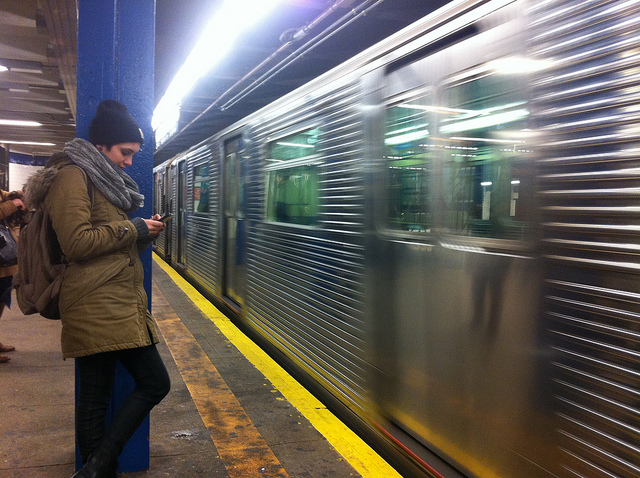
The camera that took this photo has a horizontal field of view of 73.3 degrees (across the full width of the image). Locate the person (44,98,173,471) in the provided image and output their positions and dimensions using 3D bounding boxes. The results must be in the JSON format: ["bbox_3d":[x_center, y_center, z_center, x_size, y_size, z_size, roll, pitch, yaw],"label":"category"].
[{"bbox_3d":[-1.136,0.228,2.319,0.659,1.967,0.381,4,3,-31],"label":"person"}]

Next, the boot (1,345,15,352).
[{"bbox_3d":[-3.527,1.200,4.822,0.073,0.080,0.150,5,2,-4],"label":"boot"}]

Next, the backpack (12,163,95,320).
[{"bbox_3d":[-1.495,0.109,2.292,0.356,0.621,0.102,6,2,20],"label":"backpack"}]

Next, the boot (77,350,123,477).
[{"bbox_3d":[-1.230,0.879,2.298,0.210,0.600,0.183,5,2,-6],"label":"boot"}]

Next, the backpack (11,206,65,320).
[{"bbox_3d":[-1.477,0.129,2.285,0.519,0.605,0.176,6,3,33],"label":"backpack"}]
